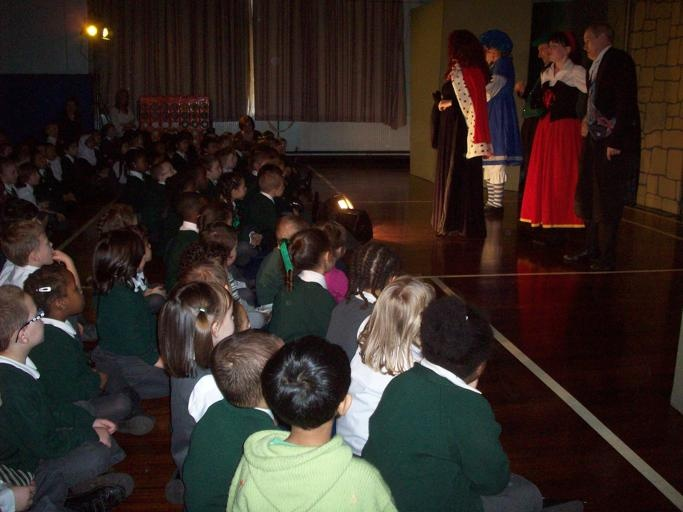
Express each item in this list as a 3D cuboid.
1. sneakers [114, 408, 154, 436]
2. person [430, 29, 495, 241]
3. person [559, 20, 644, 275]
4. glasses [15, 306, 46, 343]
[{"bbox_3d":[-0.916,0.749,2.282,0.120,0.086,0.048,-1,-3,-32],"label":"sneakers"},{"bbox_3d":[1.209,-1.177,5.088,0.538,1.961,0.290,4,9,17],"label":"person"},{"bbox_3d":[2.103,-0.845,4.086,0.472,1.865,0.392,6,10,29],"label":"person"},{"bbox_3d":[-1.058,0.239,1.753,0.075,0.022,0.073,-47,16,-20],"label":"glasses"}]
